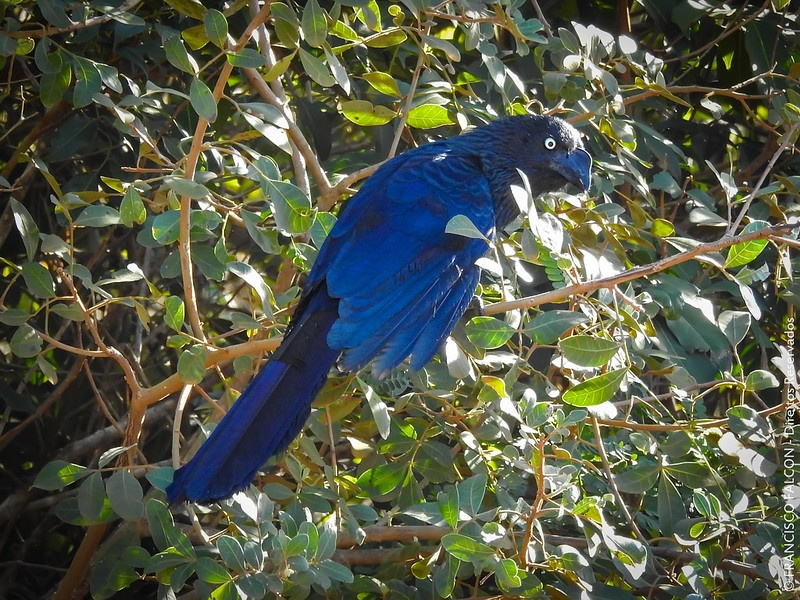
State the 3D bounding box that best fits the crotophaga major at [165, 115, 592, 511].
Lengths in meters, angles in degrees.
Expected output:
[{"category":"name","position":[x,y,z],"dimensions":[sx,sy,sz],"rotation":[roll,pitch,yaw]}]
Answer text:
[{"category":"crotophaga major","position":[-0.056,0.074,4.564],"dimensions":[0.621,2.369,0.786],"rotation":[35,-28,57]}]
